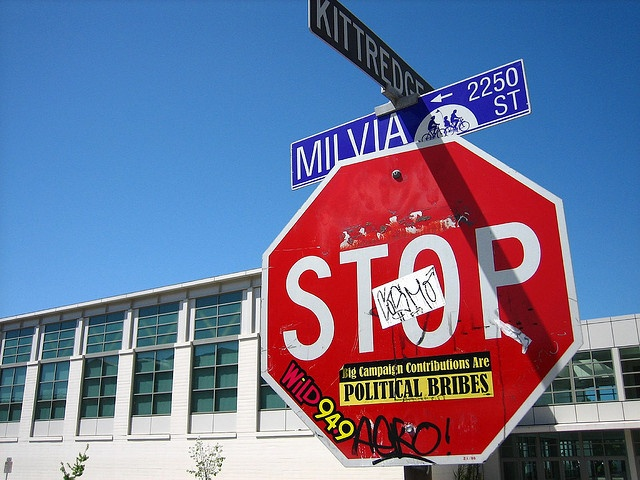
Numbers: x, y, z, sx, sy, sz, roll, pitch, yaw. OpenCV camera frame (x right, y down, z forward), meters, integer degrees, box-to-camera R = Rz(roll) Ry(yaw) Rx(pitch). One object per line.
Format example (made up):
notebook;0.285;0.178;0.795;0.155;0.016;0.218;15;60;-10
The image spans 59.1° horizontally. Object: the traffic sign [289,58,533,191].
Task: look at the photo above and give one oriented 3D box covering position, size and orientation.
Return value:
traffic sign;0.689;-0.688;3.720;1.341;0.425;0.066;-17;-38;18
